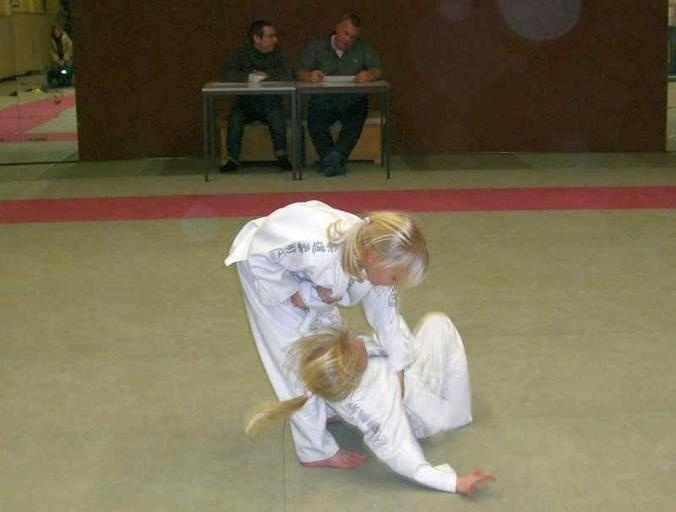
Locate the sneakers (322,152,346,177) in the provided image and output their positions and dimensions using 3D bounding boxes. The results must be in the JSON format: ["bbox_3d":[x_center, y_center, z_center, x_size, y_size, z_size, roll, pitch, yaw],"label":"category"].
[{"bbox_3d":[-0.045,-0.954,7.603,0.136,0.192,0.315,-27,6,-9],"label":"sneakers"}]

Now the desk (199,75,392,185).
[{"bbox_3d":[-0.463,-1.416,7.926,2.054,1.029,1.751,0,15,-3],"label":"desk"}]

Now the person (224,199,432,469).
[{"bbox_3d":[-0.058,0.326,2.962,0.896,1.106,0.323,7,16,25],"label":"person"}]

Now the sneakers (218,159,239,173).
[{"bbox_3d":[-1.176,-0.975,7.881,0.266,0.187,0.097,6,14,17],"label":"sneakers"}]
